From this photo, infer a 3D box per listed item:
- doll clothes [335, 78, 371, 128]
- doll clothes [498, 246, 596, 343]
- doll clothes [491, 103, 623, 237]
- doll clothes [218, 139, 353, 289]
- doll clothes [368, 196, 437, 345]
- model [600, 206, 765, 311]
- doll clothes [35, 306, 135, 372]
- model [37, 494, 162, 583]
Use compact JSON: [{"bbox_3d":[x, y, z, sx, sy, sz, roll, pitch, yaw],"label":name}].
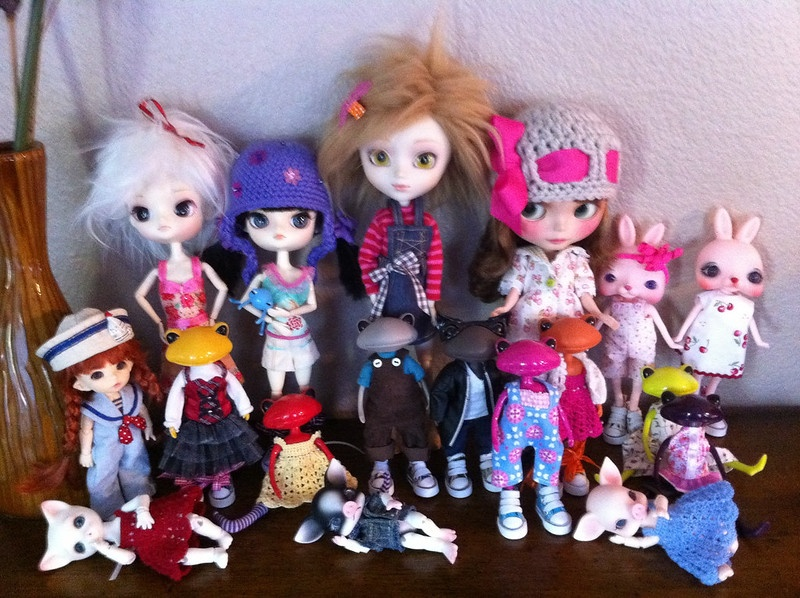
[{"bbox_3d":[-0.127,-0.534,2.177,0.133,0.040,0.100,-32,15,46],"label":"doll clothes"},{"bbox_3d":[0.435,-0.011,2.297,0.318,0.315,0.169,1,0,3],"label":"doll clothes"},{"bbox_3d":[0.422,-0.410,2.317,0.443,0.286,0.333,-13,25,-34],"label":"doll clothes"},{"bbox_3d":[-0.359,-0.254,2.339,0.385,0.400,0.288,-3,25,-8],"label":"doll clothes"},{"bbox_3d":[0.005,-0.079,2.344,0.243,0.505,0.169,-6,35,-10],"label":"doll clothes"},{"bbox_3d":[0.896,-0.115,2.455,0.311,0.358,0.244,6,-4,2],"label":"model"},{"bbox_3d":[-0.848,0.104,2.125,0.209,0.096,0.174,-22,6,-9],"label":"doll clothes"},{"bbox_3d":[-0.793,0.638,2.035,0.218,0.101,0.106,-13,4,-12],"label":"model"}]
